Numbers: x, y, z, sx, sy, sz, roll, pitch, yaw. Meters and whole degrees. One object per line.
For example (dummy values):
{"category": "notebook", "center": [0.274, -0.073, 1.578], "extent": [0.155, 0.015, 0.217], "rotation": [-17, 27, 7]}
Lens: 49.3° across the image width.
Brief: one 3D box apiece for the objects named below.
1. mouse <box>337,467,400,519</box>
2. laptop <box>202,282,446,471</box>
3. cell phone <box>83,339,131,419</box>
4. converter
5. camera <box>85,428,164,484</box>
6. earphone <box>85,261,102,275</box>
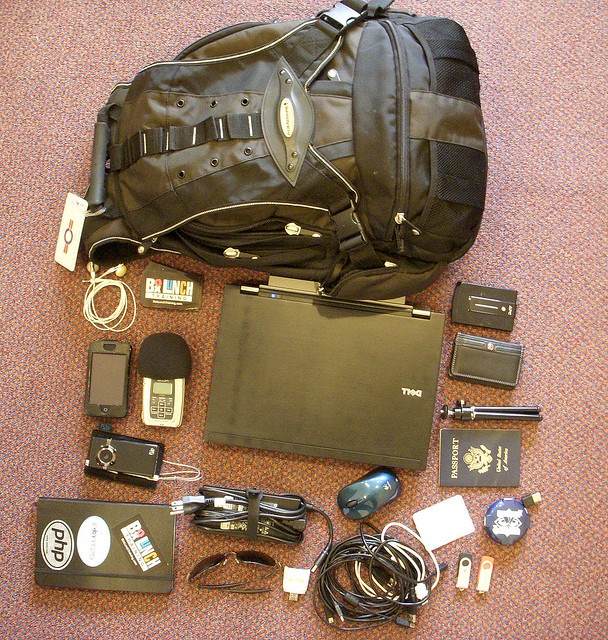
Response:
{"category": "mouse", "center": [0.147, 0.394, 1.495], "extent": [0.162, 0.100, 0.151], "rotation": [1, 47, 3]}
{"category": "laptop", "center": [0.041, 0.131, 1.508], "extent": [0.591, 0.431, 0.130], "rotation": [8, 0, -1]}
{"category": "cell phone", "center": [-0.456, 0.136, 1.532], "extent": [0.094, 0.162, 0.072], "rotation": [5, 17, -12]}
{"category": "converter", "center": [-0.118, 0.432, 1.473], "extent": [0.261, 0.110, 0.090], "rotation": [7, -3, -9]}
{"category": "camera", "center": [-0.410, 0.321, 1.515], "extent": [0.169, 0.099, 0.048], "rotation": [9, 1, -6]}
{"category": "earphone", "center": [-0.501, -0.123, 1.567], "extent": [0.026, 0.033, 0.011], "rotation": [9, -5, -12]}
